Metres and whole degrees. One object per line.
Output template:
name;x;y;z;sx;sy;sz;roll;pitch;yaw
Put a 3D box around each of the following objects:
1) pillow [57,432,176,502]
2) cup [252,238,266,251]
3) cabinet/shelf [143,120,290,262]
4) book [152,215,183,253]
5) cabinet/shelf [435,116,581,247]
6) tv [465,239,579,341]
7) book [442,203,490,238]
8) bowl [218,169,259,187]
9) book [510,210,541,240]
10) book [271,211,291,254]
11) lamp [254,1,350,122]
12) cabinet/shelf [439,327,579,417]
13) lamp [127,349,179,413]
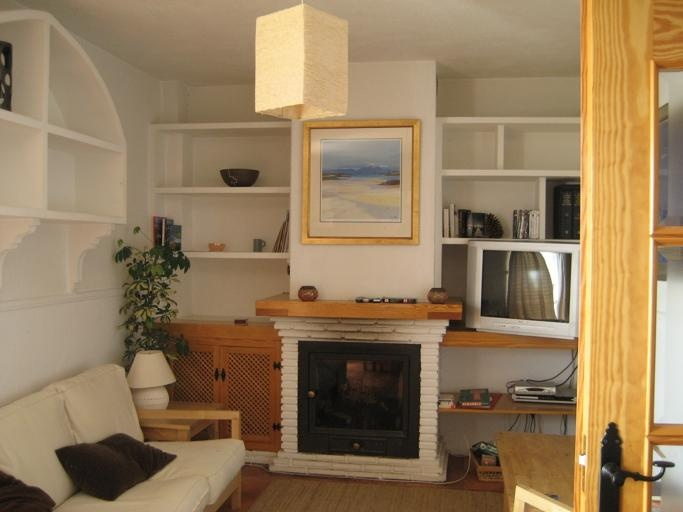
pillow;-1.254;1.145;3.429;0.334;0.255;0.545;0;1;22
cup;-0.658;-0.084;4.935;0.127;0.114;0.072;2;-4;-31
cabinet/shelf;-0.989;-0.537;4.924;1.235;0.979;0.399;0;0;5
book;-1.354;-0.158;4.878;0.243;0.312;0.337;1;-1;8
cabinet/shelf;1.298;-0.555;4.621;1.131;0.885;0.331;0;1;5
tv;1.271;0.221;4.614;1.149;0.915;0.623;1;-1;19
book;0.933;-0.256;4.602;0.357;0.245;0.331;2;1;7
bowl;-0.802;-0.622;4.827;0.250;0.165;0.187;0;1;29
book;1.369;-0.213;4.577;0.252;0.234;0.192;0;0;16
book;-0.483;-0.188;4.861;0.123;0.326;0.366;0;1;-7
lamp;-0.163;-0.802;2.534;0.379;0.418;0.162;0;2;-6
cabinet/shelf;1.217;0.885;4.494;0.945;0.681;0.518;0;1;11
lamp;-1.306;0.840;4.286;0.371;0.391;0.359;-4;5;-33
